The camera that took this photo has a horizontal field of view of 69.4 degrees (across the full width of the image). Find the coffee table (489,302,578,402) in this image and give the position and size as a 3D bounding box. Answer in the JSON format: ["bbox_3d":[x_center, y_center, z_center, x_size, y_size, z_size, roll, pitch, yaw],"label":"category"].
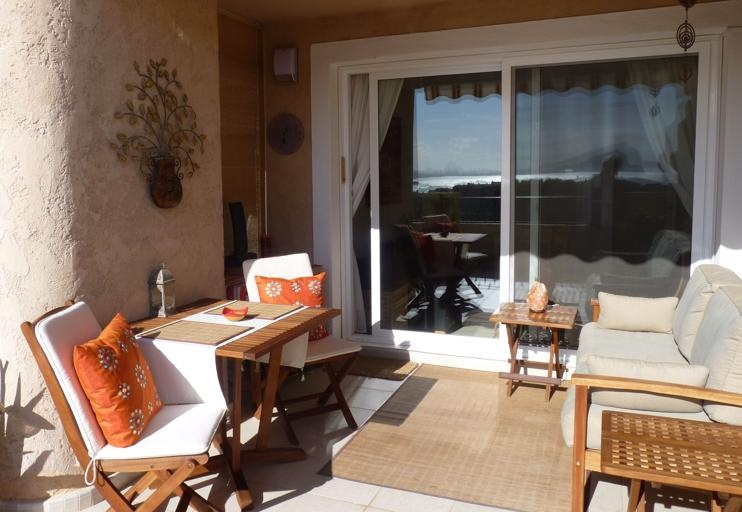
[{"bbox_3d":[1.342,0.755,4.788,0.897,0.952,0.737,2,9,26],"label":"coffee table"}]

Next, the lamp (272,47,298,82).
[{"bbox_3d":[-0.845,-1.928,5.353,0.306,0.405,0.126,2,8,7],"label":"lamp"}]

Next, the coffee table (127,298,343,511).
[{"bbox_3d":[-0.866,0.753,3.723,1.122,1.063,1.183,3,12,18],"label":"coffee table"}]

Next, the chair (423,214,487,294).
[{"bbox_3d":[0.925,-0.062,5.641,0.612,0.888,0.734,0,9,20],"label":"chair"}]

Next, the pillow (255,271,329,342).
[{"bbox_3d":[-0.600,0.371,3.951,0.470,0.473,0.186,2,-19,-17],"label":"pillow"}]

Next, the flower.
[{"bbox_3d":[-1.504,-0.990,3.844,0.177,0.860,0.852,3,14,16],"label":"flower"}]
